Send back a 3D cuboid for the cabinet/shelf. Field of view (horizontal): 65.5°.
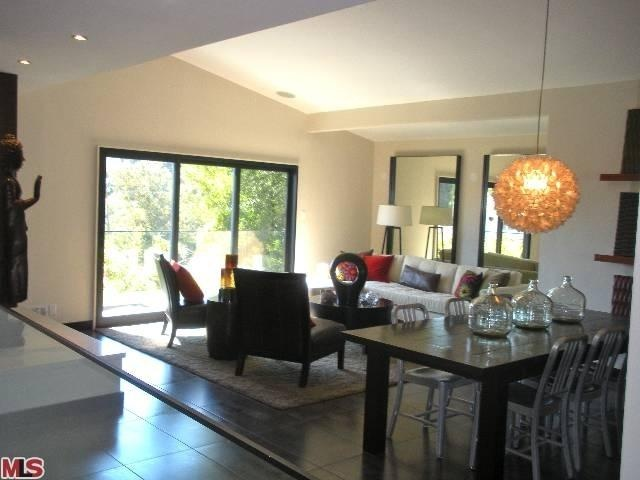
[{"bbox_3d":[3.381,-0.226,5.571,0.345,1.039,0.494,-2,7,-32],"label":"cabinet/shelf"}]

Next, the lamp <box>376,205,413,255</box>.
[{"bbox_3d":[1.295,-0.150,8.706,0.549,0.912,0.898,3,6,8],"label":"lamp"}]

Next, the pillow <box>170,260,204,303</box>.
[{"bbox_3d":[-1.653,0.511,6.098,0.233,0.345,0.408,-6,26,-24],"label":"pillow"}]

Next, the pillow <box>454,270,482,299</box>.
[{"bbox_3d":[1.898,0.573,6.341,0.189,0.299,0.342,10,-10,-23],"label":"pillow"}]
